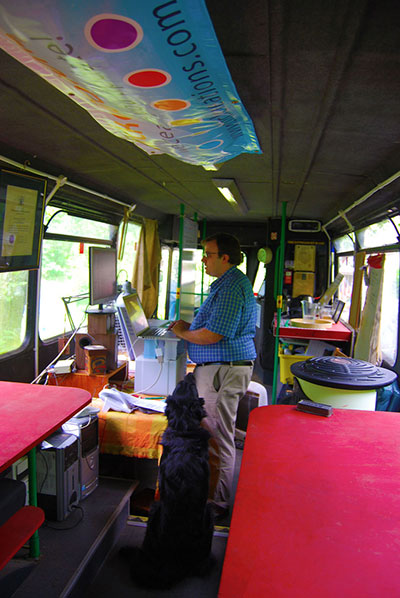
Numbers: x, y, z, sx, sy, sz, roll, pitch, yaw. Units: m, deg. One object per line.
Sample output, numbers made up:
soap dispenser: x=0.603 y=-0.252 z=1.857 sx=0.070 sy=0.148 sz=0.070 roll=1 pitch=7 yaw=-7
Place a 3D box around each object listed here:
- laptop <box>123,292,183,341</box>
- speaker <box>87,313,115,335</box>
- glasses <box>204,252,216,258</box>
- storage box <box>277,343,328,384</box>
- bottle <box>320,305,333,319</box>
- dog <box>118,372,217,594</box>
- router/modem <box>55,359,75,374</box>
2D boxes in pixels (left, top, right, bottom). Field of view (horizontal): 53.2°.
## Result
laptop: x=-0.458 y=0.192 z=3.719 sx=0.418 sy=0.327 sz=0.555 roll=0 pitch=5 yaw=3
speaker: x=-0.861 y=0.264 z=3.486 sx=0.161 sy=0.197 sz=0.304 roll=0 pitch=4 yaw=1
glasses: x=0.085 y=-0.330 z=2.998 sx=0.063 sy=0.021 sz=0.062 roll=4 pitch=3 yaw=-10
storage box: x=1.221 y=0.776 z=4.886 sx=0.575 sy=0.422 sz=0.862 roll=1 pitch=2 yaw=7
bottle: x=1.752 y=0.184 z=5.552 sx=0.156 sy=0.162 sz=0.292 roll=2 pitch=2 yaw=17
dog: x=-0.134 y=1.047 z=2.354 sx=0.389 sy=1.017 sz=0.481 roll=9 pitch=-24 yaw=-5
router/modem: x=-1.096 y=0.549 z=3.243 sx=0.083 sy=0.036 sz=0.158 roll=0 pitch=7 yaw=-4
